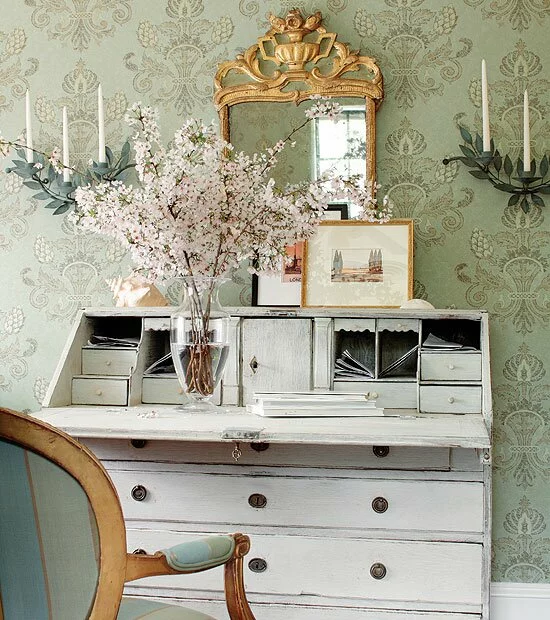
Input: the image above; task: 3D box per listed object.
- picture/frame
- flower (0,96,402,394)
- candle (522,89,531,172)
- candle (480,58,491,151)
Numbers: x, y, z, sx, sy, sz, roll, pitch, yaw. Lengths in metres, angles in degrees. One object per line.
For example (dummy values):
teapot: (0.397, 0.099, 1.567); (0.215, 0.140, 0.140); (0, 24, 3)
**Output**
picture/frame: (0.189, -0.163, 2.266); (0.399, 0.200, 0.027); (0, -7, 5)
flower: (-0.227, -0.253, 2.364); (1.255, 0.927, 1.038); (-1, 1, -5)
candle: (0.805, -0.569, 2.375); (0.027, 0.292, 0.124); (1, -5, 18)
candle: (0.676, -0.652, 2.376); (0.037, 0.328, 0.148); (1, -5, 15)
